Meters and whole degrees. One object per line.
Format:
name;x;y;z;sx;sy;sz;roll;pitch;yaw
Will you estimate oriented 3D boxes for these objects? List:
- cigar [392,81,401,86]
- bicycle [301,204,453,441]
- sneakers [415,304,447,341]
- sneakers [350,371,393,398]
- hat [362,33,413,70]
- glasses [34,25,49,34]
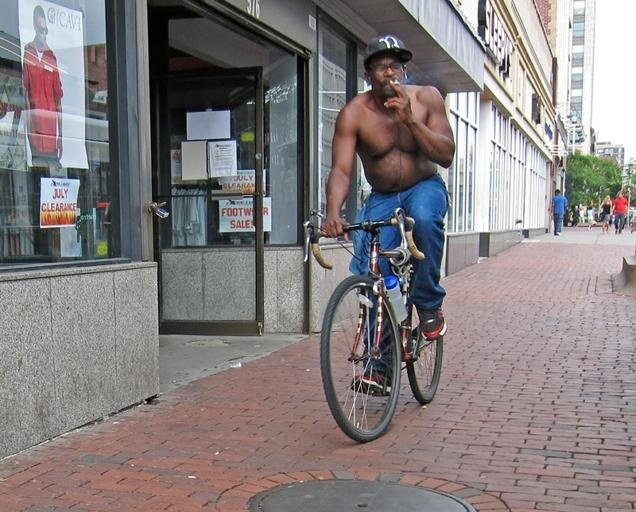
cigar;0.470;-1.021;3.998;0.062;0.018;0.071;5;16;23
bicycle;0.477;0.428;4.394;0.473;1.460;1.427;1;4;23
sneakers;0.802;0.454;4.697;0.101;0.162;0.332;-13;14;19
sneakers;0.336;0.805;4.202;0.292;0.141;0.115;23;-32;-37
hat;0.441;-1.310;4.256;0.265;0.205;0.372;-6;-1;-17
glasses;-1.800;-1.480;4.429;0.048;0.023;0.051;-3;2;27
